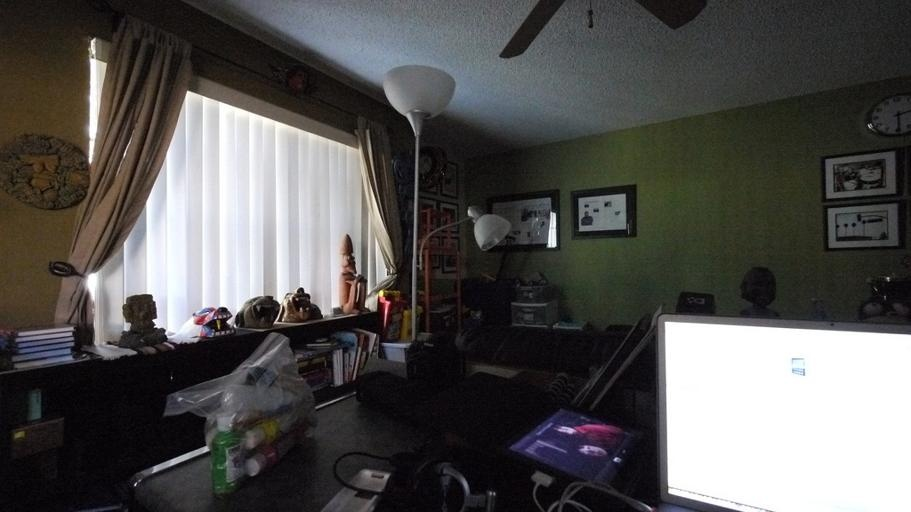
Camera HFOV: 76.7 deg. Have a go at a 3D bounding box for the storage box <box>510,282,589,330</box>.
[{"bbox_3d":[1.017,0.542,6.675,0.616,0.375,0.591,0,2,27],"label":"storage box"}]

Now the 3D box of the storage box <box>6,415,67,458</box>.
[{"bbox_3d":[-2.818,1.226,3.871,0.288,0.181,0.265,-6,-4,-14],"label":"storage box"}]

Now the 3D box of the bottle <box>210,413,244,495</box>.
[{"bbox_3d":[-1.301,1.130,3.266,0.181,0.457,0.073,-1,0,14],"label":"bottle"}]

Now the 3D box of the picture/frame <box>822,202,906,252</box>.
[{"bbox_3d":[3.950,-0.280,5.525,0.558,0.411,0.042,0,-4,28],"label":"picture/frame"}]

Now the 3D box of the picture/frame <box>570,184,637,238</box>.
[{"bbox_3d":[1.752,-0.527,6.690,0.741,0.533,0.053,-1,-5,31],"label":"picture/frame"}]

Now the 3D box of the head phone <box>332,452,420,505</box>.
[{"bbox_3d":[-0.451,1.241,3.242,0.439,0.166,0.261,12,34,8],"label":"head phone"}]

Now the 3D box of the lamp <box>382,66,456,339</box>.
[{"bbox_3d":[-0.292,-0.252,4.547,0.599,2.173,0.591,14,22,35],"label":"lamp"}]

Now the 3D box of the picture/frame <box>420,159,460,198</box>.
[{"bbox_3d":[-0.177,-0.981,7.121,0.168,0.458,0.469,9,30,-21],"label":"picture/frame"}]

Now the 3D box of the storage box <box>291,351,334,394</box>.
[{"bbox_3d":[-1.305,1.051,5.044,0.282,0.297,0.346,-6,-15,-43],"label":"storage box"}]

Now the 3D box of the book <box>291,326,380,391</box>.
[{"bbox_3d":[-1.018,0.885,5.016,0.509,0.185,0.685,0,3,35],"label":"book"}]
